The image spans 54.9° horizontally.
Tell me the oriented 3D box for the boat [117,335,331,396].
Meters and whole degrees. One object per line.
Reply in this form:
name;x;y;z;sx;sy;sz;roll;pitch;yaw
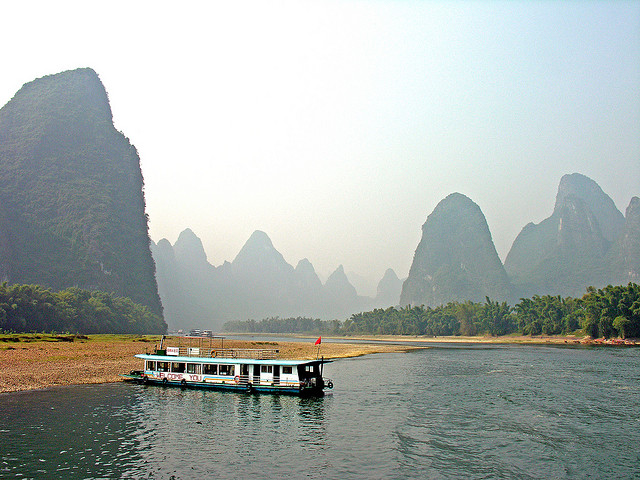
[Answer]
boat;-13.210;16.886;83.556;30.731;7.621;9.345;-4;-15;26
